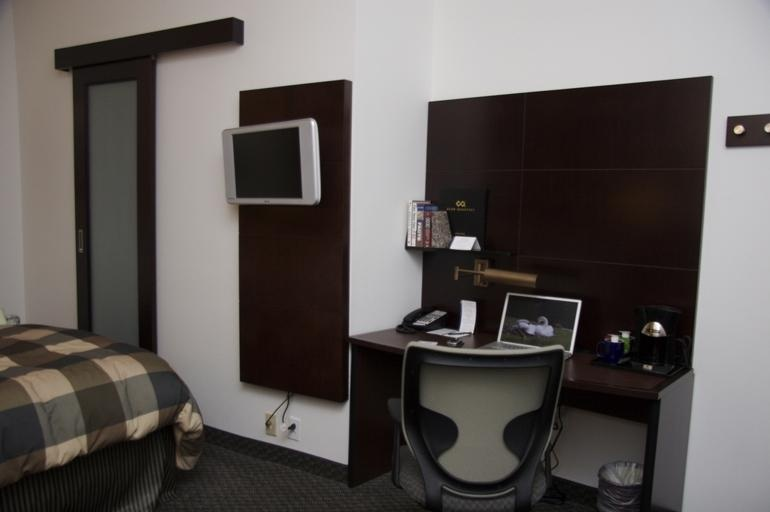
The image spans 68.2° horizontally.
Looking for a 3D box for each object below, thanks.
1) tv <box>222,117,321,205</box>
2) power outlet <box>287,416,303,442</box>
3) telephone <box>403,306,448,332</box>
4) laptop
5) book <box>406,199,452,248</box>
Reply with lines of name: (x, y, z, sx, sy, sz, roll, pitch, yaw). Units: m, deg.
tv: (-0.760, -0.615, 3.785, 0.757, 0.536, 0.129, 4, 8, 29)
power outlet: (-0.626, 1.190, 3.919, 0.105, 0.167, 0.026, 3, 8, 22)
telephone: (0.274, 0.439, 3.905, 0.214, 0.086, 0.162, -3, 6, -45)
laptop: (0.987, 0.419, 3.632, 0.435, 0.280, 0.436, 3, 3, 33)
book: (0.312, -0.217, 3.981, 0.325, 0.332, 0.161, 1, 3, 14)
